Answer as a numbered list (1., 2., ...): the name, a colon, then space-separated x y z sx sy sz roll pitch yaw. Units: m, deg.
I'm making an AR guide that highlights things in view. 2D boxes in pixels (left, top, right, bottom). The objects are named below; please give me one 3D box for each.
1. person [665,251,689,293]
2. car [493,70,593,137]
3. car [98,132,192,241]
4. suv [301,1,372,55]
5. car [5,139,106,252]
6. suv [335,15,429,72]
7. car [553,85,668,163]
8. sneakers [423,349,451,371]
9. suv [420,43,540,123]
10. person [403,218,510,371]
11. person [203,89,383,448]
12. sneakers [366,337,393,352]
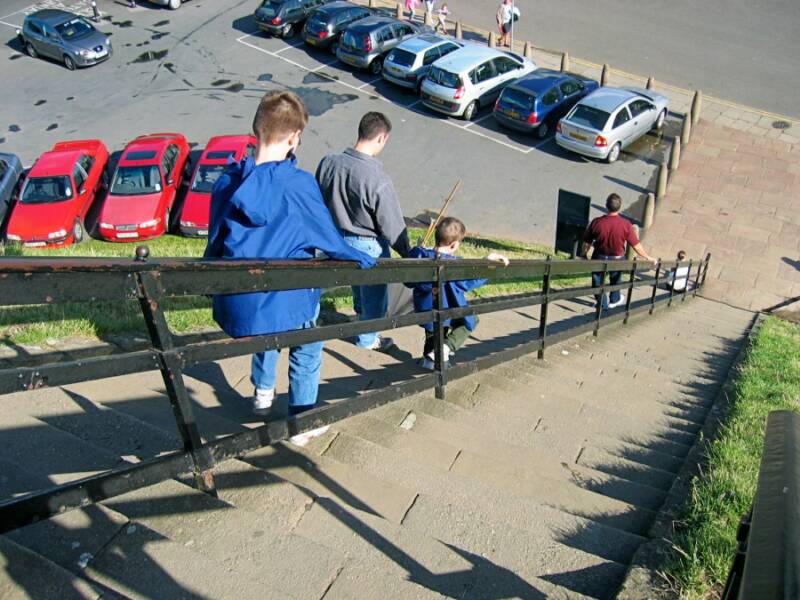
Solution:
1. person: 4.740 -0.463 12.684 0.436 0.562 1.624 9 2 16
2. car: 3.775 -5.085 18.965 1.300 0.934 2.670 24 53 34
3. car: -5.187 -2.378 15.473 1.112 0.931 2.960 1 48 3
4. suv: -1.861 -8.270 22.522 1.190 0.956 2.076 34 61 30
5. car: -6.860 -2.104 15.303 1.140 0.936 2.887 3 48 0
6. suv: -0.630 -7.532 21.488 1.219 1.048 2.263 30 55 30
7. car: 5.258 -4.482 17.930 1.350 1.063 3.068 27 54 34
8. sneakers: 0.339 0.491 6.352 0.121 0.166 0.359 10 14 25
9. suv: 2.015 -6.068 19.563 1.503 1.314 2.842 27 58 35
10. person: 0.408 0.002 6.213 0.752 1.373 1.849 9 12 1
11. person: -0.752 -0.146 4.388 0.909 2.114 0.937 -1 14 -41
12. sneakers: -0.172 0.384 6.647 0.265 0.135 0.097 -5 14 -41
